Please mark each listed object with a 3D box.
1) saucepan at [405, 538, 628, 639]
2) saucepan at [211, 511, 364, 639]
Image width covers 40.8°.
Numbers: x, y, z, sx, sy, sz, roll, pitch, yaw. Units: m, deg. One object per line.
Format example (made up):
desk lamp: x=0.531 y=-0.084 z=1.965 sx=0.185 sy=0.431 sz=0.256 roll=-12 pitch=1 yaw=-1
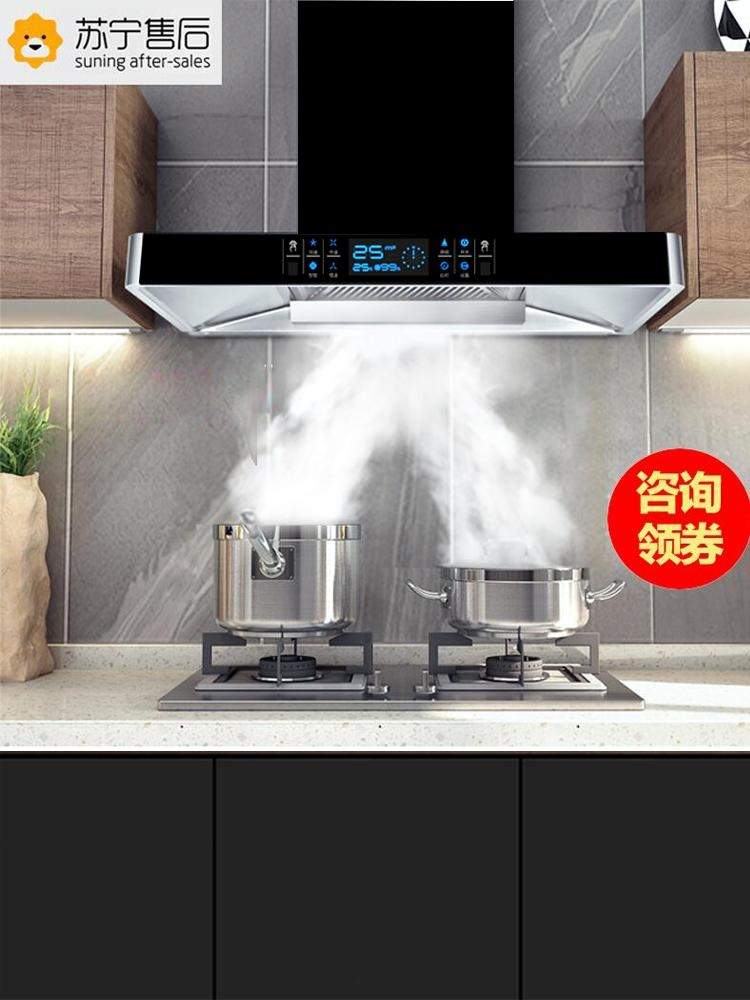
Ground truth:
saucepan: x=0.252 y=0.178 z=1.856 sx=0.328 sy=0.147 sz=0.174 roll=5 pitch=8 yaw=12
saucepan: x=-0.161 y=0.138 z=1.792 sx=0.234 sy=0.168 sz=0.227 roll=0 pitch=-5 yaw=2
